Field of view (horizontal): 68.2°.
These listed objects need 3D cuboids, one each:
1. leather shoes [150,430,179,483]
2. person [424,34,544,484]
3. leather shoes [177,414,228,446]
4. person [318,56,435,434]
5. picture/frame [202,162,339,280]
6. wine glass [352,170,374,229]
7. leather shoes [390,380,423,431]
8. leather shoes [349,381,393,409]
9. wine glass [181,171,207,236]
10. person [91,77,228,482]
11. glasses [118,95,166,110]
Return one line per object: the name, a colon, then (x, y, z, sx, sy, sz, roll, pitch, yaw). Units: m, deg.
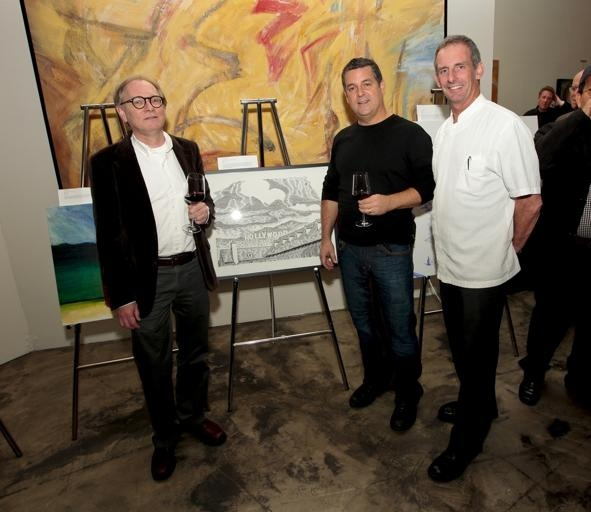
leather shoes: (-0.752, 1.148, 2.525, 0.111, 0.119, 0.330, -3, 15, -10)
person: (0.864, 0.007, 2.278, 0.588, 2.163, 0.482, -12, 17, -18)
leather shoes: (-0.548, 1.044, 2.661, 0.338, 0.159, 0.134, 6, 13, 23)
person: (0.468, -0.090, 2.718, 0.561, 2.148, 0.729, -19, 20, -36)
picture/frame: (-0.172, -0.244, 2.974, 0.693, 0.589, 0.015, -5, 8, -14)
wine glass: (0.399, -0.309, 2.392, 0.093, 0.261, 0.107, -4, 11, -33)
leather shoes: (0.677, 0.911, 2.734, 0.139, 0.190, 0.432, 0, 11, 16)
leather shoes: (0.501, 0.882, 2.932, 0.301, 0.128, 0.113, -10, 27, -32)
wine glass: (-0.546, -0.296, 2.422, 0.138, 0.344, 0.344, -11, 18, -12)
person: (-0.686, 0.143, 2.522, 0.661, 2.220, 0.634, -14, 21, -36)
glasses: (-0.815, -0.826, 2.355, 0.235, 0.074, 0.105, -15, 19, -20)
